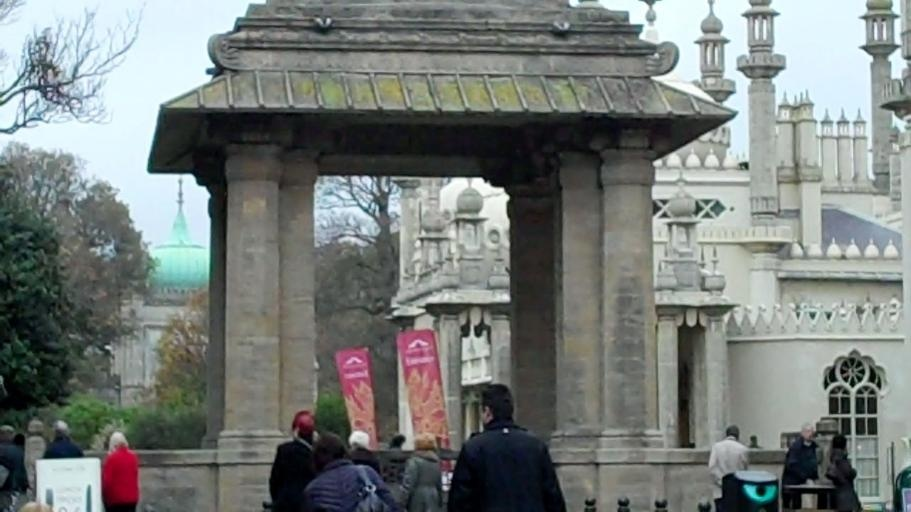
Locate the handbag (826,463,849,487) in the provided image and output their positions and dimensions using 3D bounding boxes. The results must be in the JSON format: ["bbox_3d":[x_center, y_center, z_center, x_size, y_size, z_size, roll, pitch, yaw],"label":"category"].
[{"bbox_3d":[12.708,7.281,85.509,0.869,0.623,0.602,17,-2,-4],"label":"handbag"}]
